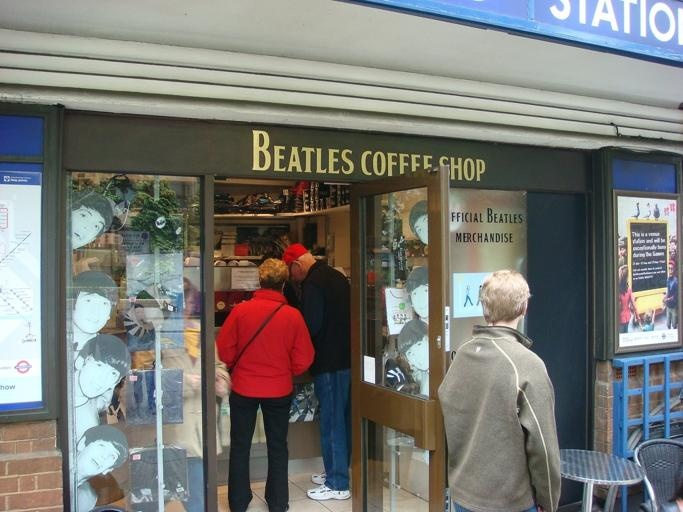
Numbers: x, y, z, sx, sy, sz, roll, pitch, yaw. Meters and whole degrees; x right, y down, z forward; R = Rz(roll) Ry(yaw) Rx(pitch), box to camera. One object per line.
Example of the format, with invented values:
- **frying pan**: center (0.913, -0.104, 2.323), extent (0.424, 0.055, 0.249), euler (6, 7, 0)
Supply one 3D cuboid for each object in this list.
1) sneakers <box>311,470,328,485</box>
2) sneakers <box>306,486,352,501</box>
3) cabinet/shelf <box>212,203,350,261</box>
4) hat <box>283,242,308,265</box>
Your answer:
- **sneakers**: center (-0.201, 1.982, 5.943), extent (0.180, 0.080, 0.086), euler (12, -10, -36)
- **sneakers**: center (-0.113, 2.024, 5.747), extent (0.362, 0.164, 0.137), euler (4, -7, -3)
- **cabinet/shelf**: center (-0.582, -0.342, 8.029), extent (0.894, 0.581, 0.904), euler (0, -3, -17)
- **hat**: center (-0.434, -0.004, 6.135), extent (0.162, 0.120, 0.215), euler (-46, 16, -29)
